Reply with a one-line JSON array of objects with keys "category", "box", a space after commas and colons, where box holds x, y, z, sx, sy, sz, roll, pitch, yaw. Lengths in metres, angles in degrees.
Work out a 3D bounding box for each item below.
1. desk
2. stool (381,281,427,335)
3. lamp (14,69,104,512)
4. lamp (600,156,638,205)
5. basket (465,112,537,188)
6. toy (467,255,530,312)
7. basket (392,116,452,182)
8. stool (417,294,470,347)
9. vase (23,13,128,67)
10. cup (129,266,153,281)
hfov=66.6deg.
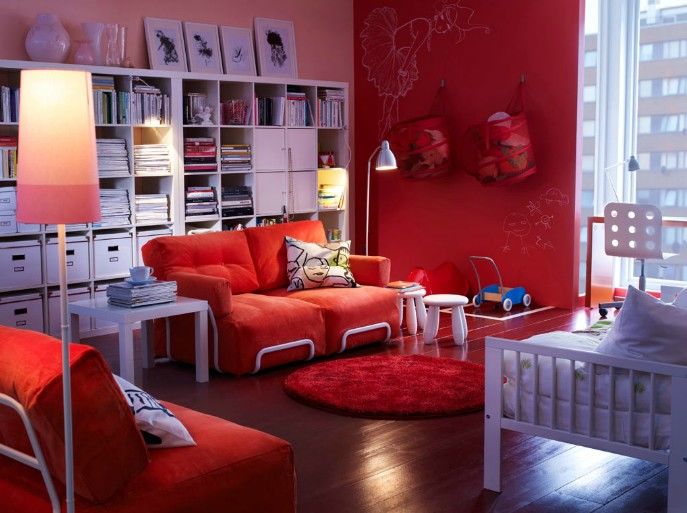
[{"category": "desk", "box": [3.087, 0.017, 5.573, 1.004, 1.004, 0.443, 0, -2, 5]}, {"category": "stool", "box": [0.671, 0.507, 5.377, 0.467, 0.544, 0.473, 0, 5, 42]}, {"category": "lamp", "box": [-0.844, 0.085, 1.599, 0.232, 1.313, 0.477, -4, 8, -26]}, {"category": "lamp", "box": [3.395, -0.944, 6.507, 0.361, 0.543, 0.714, 3, 8, 26]}, {"category": "basket", "box": [1.853, -1.248, 6.320, 0.837, 0.882, 0.705, -4, 0, 22]}, {"category": "toy", "box": [1.908, 0.326, 6.524, 0.733, 0.697, 0.509, -6, 6, -42]}, {"category": "basket", "box": [0.983, -1.312, 6.611, 0.693, 0.665, 0.720, -27, 16, -40]}, {"category": "stool", "box": [0.962, 0.593, 5.051, 0.439, 0.480, 0.439, 0, 1, 3]}, {"category": "vase", "box": [-2.570, -2.090, 5.145, 0.901, 0.518, 0.337, -6, 9, -37]}, {"category": "cup", "box": [-1.519, 0.127, 3.997, 0.133, 0.116, 0.206, -2, 7, -6]}]
